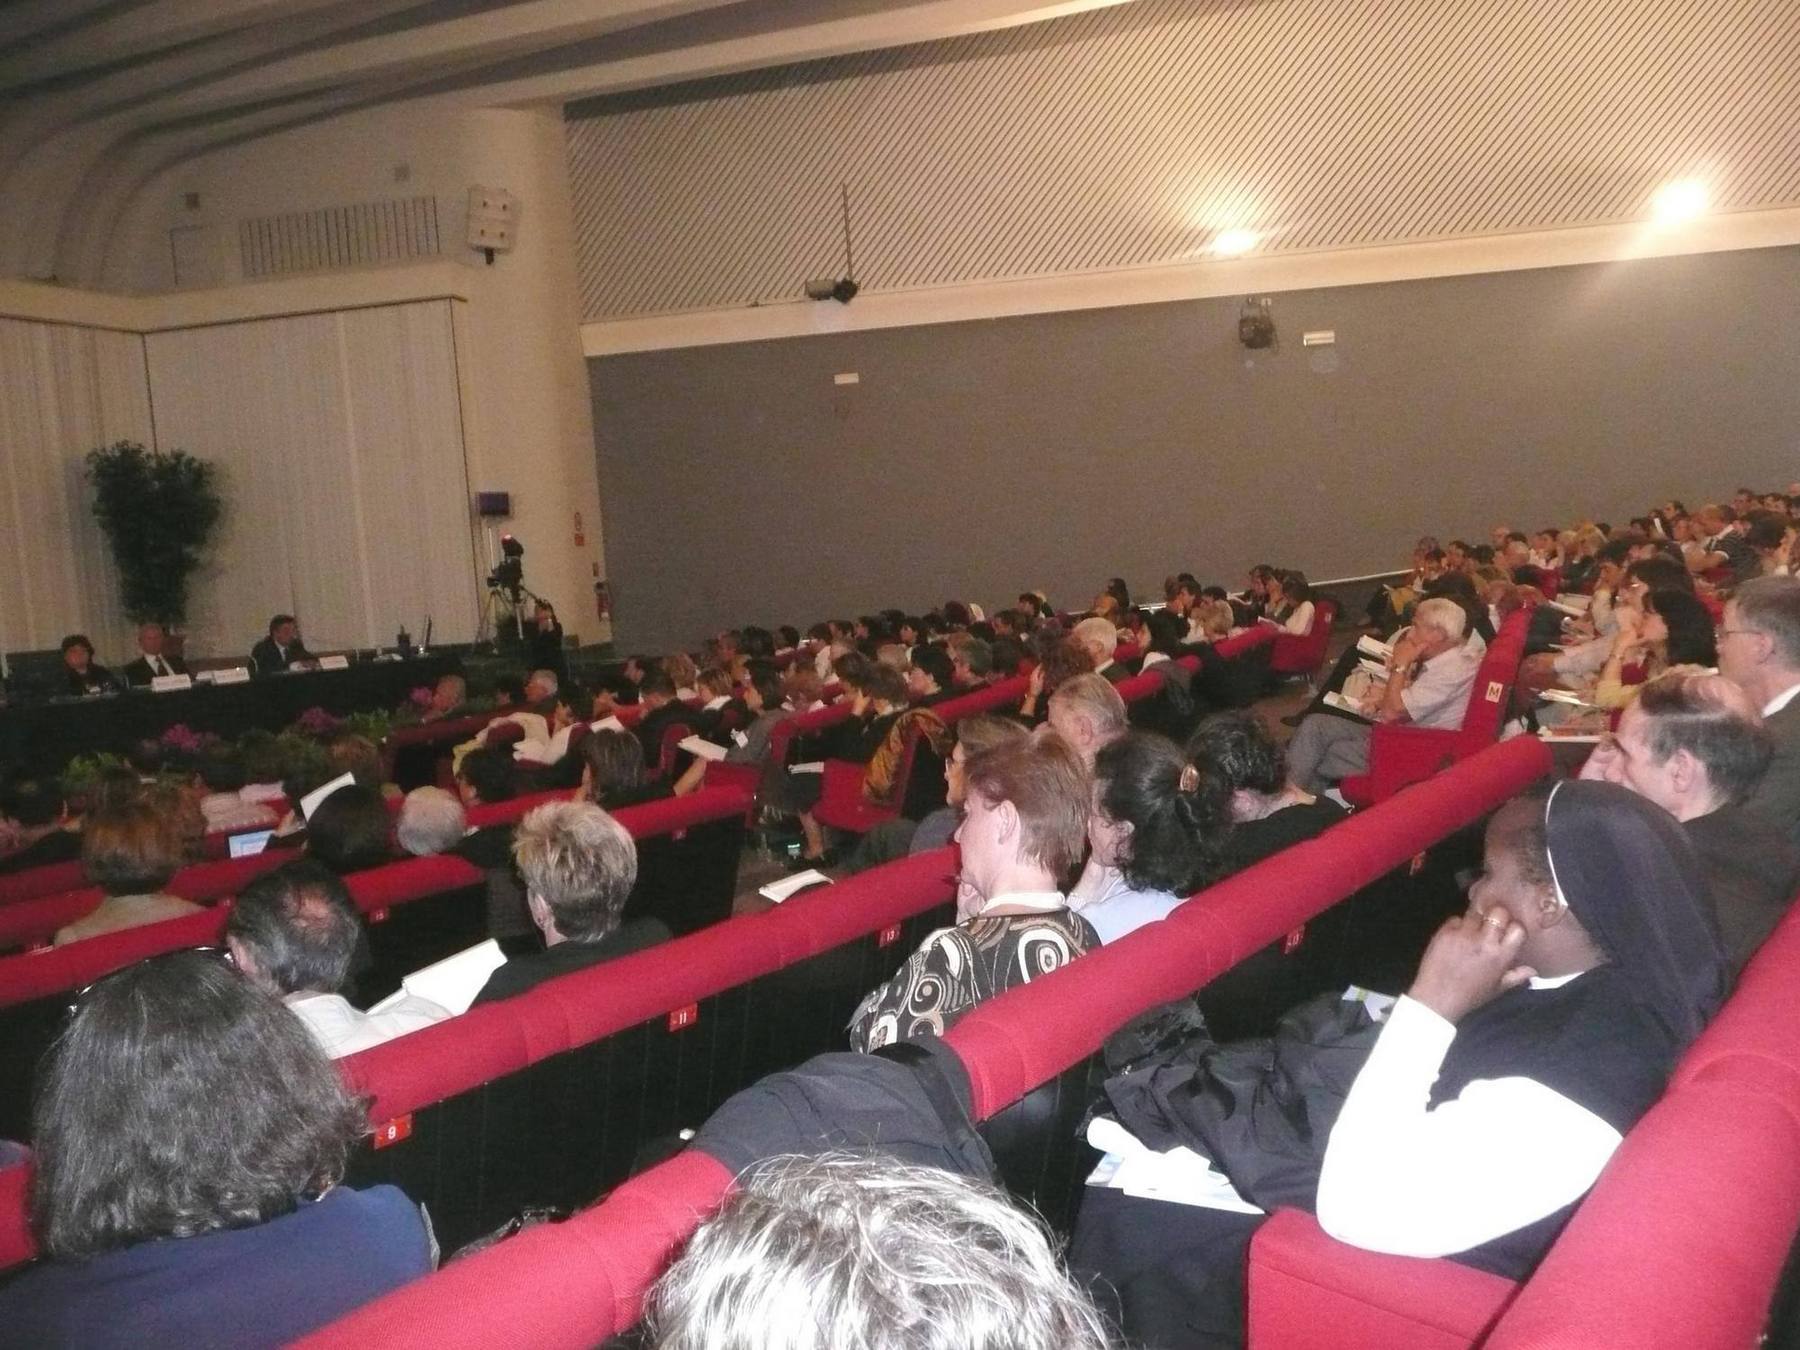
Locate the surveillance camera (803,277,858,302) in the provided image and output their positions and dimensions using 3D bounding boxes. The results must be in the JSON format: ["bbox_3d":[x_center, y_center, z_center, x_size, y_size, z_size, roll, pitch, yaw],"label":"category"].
[{"bbox_3d":[-0.704,-3.803,12.879,0.516,0.279,0.405,-6,9,4],"label":"surveillance camera"}]

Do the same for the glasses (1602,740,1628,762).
[{"bbox_3d":[1.339,0.141,2.470,0.034,0.028,0.013,-3,30,27],"label":"glasses"}]
